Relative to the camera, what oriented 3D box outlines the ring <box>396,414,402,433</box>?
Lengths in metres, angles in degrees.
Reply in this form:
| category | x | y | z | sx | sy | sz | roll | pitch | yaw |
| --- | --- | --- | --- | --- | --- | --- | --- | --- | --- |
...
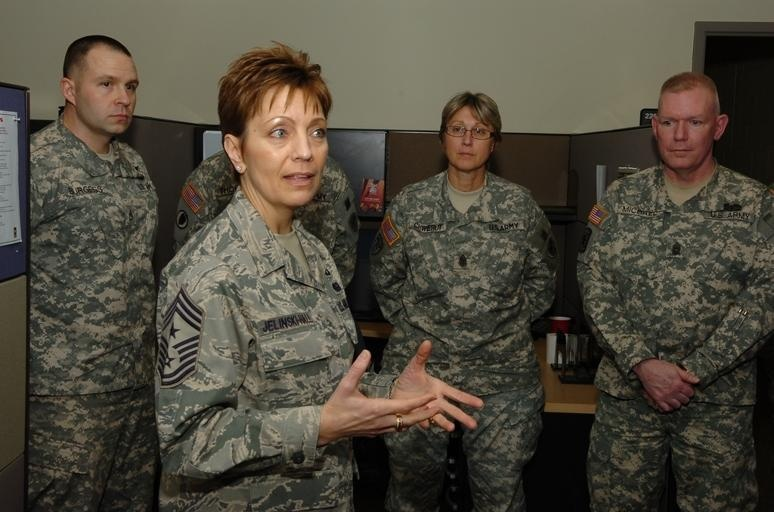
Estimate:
| category | x | y | z | sx | sy | sz | roll | pitch | yaw |
| --- | --- | --- | --- | --- | --- | --- | --- | --- | --- |
| ring | 0.037 | 0.528 | 2.060 | 0.023 | 0.068 | 0.035 | -2 | 12 | 1 |

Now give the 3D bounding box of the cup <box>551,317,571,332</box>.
| category | x | y | z | sx | sy | sz | roll | pitch | yaw |
| --- | --- | --- | --- | --- | --- | --- | --- | --- | --- |
| cup | 0.996 | 0.387 | 3.754 | 0.090 | 0.066 | 0.085 | -1 | 3 | 0 |
